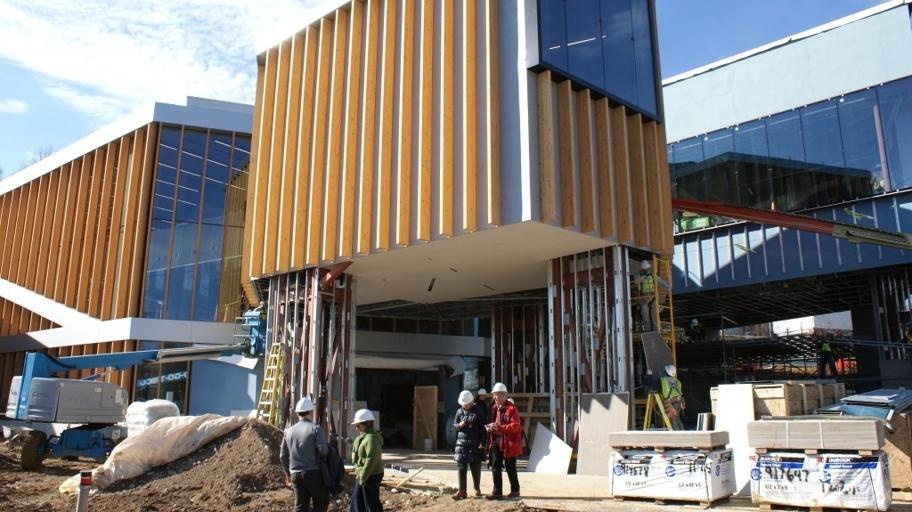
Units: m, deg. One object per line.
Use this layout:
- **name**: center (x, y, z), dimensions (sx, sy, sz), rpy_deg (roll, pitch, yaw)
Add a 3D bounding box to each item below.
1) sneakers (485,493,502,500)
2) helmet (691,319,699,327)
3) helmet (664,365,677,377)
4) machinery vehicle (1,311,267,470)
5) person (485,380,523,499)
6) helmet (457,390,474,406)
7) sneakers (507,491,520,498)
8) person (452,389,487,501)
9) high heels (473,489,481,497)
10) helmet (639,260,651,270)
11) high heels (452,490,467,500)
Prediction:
- **sneakers**: center (1.133, 7.207, 21.680), dimensions (0.482, 0.203, 0.174), rpy_deg (1, -14, 20)
- **helmet**: center (13.398, 3.755, 40.451), dimensions (0.462, 0.491, 0.573), rpy_deg (4, -1, 13)
- **helmet**: center (7.404, 3.952, 24.729), dimensions (0.323, 0.396, 0.398), rpy_deg (-5, -51, -14)
- **machinery vehicle**: center (-13.605, 5.537, 30.414), dimensions (13.407, 7.177, 4.261), rpy_deg (2, -6, -40)
- **person**: center (1.455, 5.586, 21.995), dimensions (1.020, 3.407, 1.195), rpy_deg (0, -17, 3)
- **helmet**: center (0.343, 4.370, 22.051), dimensions (0.546, 0.336, 0.683), rpy_deg (2, 6, 11)
- **sneakers**: center (1.761, 7.169, 21.756), dimensions (0.337, 0.176, 0.220), rpy_deg (1, -16, -2)
- **person**: center (0.419, 5.711, 21.944), dimensions (0.916, 3.180, 1.272), rpy_deg (0, -16, 1)
- **high heels**: center (0.649, 7.200, 21.976), dimensions (0.167, 0.184, 0.204), rpy_deg (3, -4, -25)
- **helmet**: center (6.942, 0.303, 26.477), dimensions (0.359, 0.349, 0.237), rpy_deg (-3, -17, 12)
- **high heels**: center (0.131, 7.179, 21.608), dimensions (0.497, 0.219, 0.161), rpy_deg (7, -12, -15)
